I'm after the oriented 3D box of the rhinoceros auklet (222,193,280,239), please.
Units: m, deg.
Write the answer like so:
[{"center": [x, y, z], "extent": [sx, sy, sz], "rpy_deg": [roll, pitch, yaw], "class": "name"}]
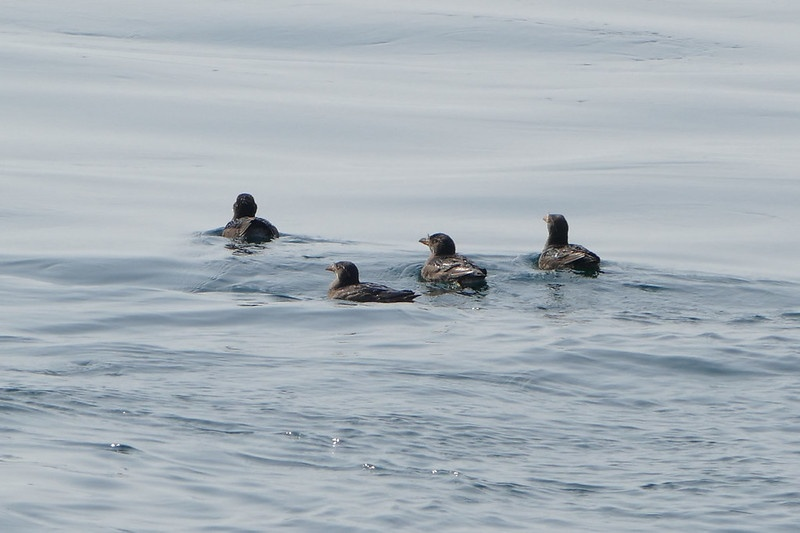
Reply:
[{"center": [-3.352, -1.088, 27.403], "extent": [1.120, 0.848, 1.620], "rpy_deg": [2, 0, -14], "class": "rhinoceros auklet"}]
